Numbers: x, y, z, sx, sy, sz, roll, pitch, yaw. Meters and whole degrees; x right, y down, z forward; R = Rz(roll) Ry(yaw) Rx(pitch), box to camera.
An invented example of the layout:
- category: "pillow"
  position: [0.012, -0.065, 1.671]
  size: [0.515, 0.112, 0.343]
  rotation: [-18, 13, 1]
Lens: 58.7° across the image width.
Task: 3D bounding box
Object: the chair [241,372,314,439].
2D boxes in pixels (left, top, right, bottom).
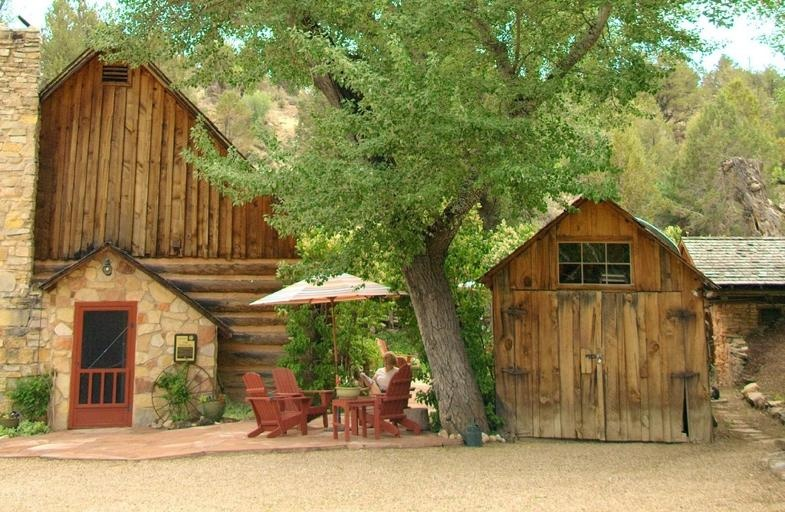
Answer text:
- category: "chair"
  position: [-2.536, 3.313, 15.462]
  size: [1.104, 1.324, 1.485]
  rotation: [-10, -14, 27]

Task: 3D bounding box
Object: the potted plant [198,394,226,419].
- category: "potted plant"
  position: [-4.409, 3.778, 17.297]
  size: [0.599, 0.530, 0.609]
  rotation: [-6, -12, 12]

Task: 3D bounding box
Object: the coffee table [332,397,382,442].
- category: "coffee table"
  position: [-0.784, 3.535, 15.099]
  size: [0.926, 0.722, 0.927]
  rotation: [-5, -15, 20]

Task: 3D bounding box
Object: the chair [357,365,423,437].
- category: "chair"
  position: [0.048, 3.260, 15.717]
  size: [1.562, 1.907, 1.395]
  rotation: [-9, -11, 44]

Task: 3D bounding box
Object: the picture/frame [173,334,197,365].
- category: "picture/frame"
  position: [-5.181, 2.346, 17.423]
  size: [0.754, 0.920, 0.098]
  rotation: [0, -6, -5]

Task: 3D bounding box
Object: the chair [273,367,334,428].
- category: "chair"
  position: [-1.993, 3.151, 15.252]
  size: [1.332, 1.266, 1.083]
  rotation: [-2, -3, 18]

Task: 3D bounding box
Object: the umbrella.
- category: "umbrella"
  position: [-1.740, 1.710, 17.213]
  size: [2.657, 1.668, 2.497]
  rotation: [-3, -8, -8]
